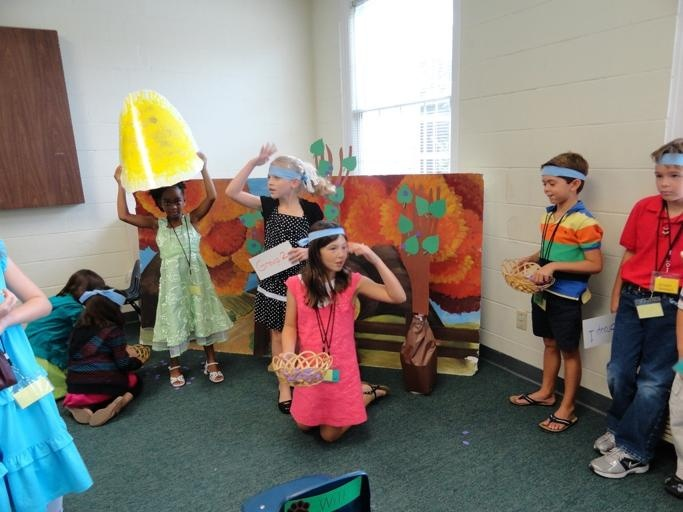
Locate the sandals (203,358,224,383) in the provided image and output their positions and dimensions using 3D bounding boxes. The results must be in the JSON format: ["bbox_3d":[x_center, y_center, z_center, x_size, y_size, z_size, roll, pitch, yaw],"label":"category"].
[{"bbox_3d":[-0.921,0.823,3.203,0.086,0.094,0.219,-6,9,-29],"label":"sandals"}]

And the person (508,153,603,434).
[{"bbox_3d":[1.233,0.187,2.548,0.499,1.493,0.464,-11,19,-23],"label":"person"}]

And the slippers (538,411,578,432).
[{"bbox_3d":[1.236,0.942,2.540,0.177,0.047,0.094,-9,14,-11],"label":"slippers"}]

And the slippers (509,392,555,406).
[{"bbox_3d":[1.157,0.888,2.721,0.236,0.064,0.099,1,7,8],"label":"slippers"}]

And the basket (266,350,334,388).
[{"bbox_3d":[-0.178,0.587,2.296,0.347,0.168,0.370,-5,-14,21],"label":"basket"}]

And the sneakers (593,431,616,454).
[{"bbox_3d":[1.382,0.984,2.348,0.130,0.055,0.065,-17,16,-41],"label":"sneakers"}]

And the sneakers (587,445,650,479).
[{"bbox_3d":[1.354,1.023,2.260,0.300,0.145,0.119,-2,11,0],"label":"sneakers"}]

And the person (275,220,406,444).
[{"bbox_3d":[-0.004,0.457,2.640,0.696,1.213,0.641,0,9,2],"label":"person"}]

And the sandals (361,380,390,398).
[{"bbox_3d":[0.213,0.856,2.887,0.232,0.093,0.060,9,-9,-42],"label":"sandals"}]

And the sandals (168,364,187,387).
[{"bbox_3d":[-1.153,0.848,3.153,0.075,0.083,0.222,-2,5,-22],"label":"sandals"}]

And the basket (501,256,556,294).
[{"bbox_3d":[1.033,0.127,2.518,0.235,0.103,0.227,-9,19,-25],"label":"basket"}]

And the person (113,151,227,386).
[{"bbox_3d":[-1.133,0.107,3.102,0.645,1.566,0.524,-9,18,-16],"label":"person"}]

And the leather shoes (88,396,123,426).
[{"bbox_3d":[-1.459,0.981,2.790,0.082,0.074,0.191,41,58,14],"label":"leather shoes"}]
